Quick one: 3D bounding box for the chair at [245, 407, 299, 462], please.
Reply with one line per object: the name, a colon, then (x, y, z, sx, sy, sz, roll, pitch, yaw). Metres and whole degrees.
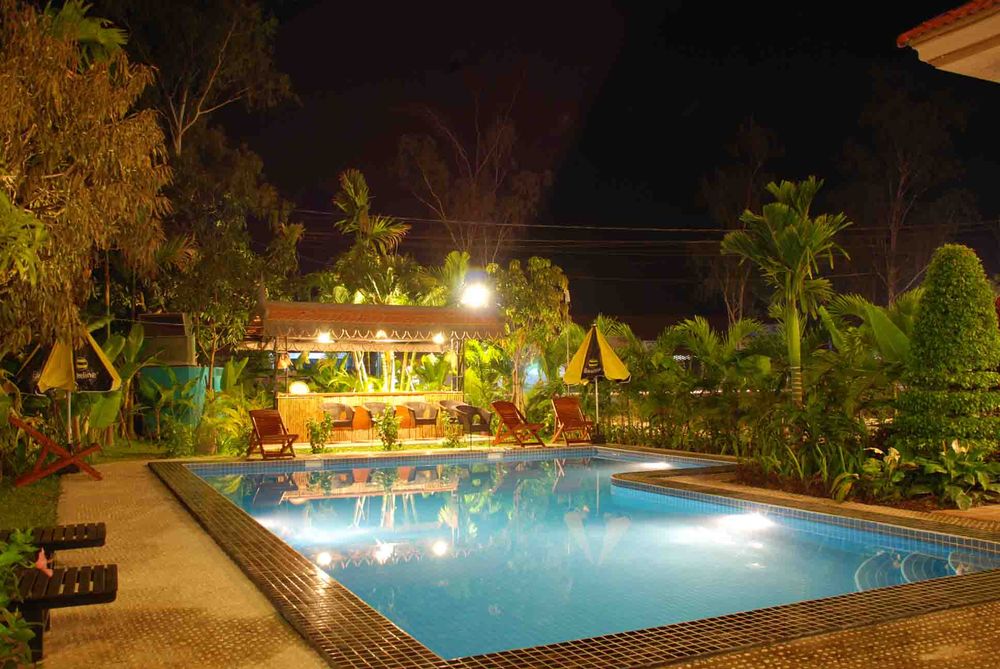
chair: (-5.134, 2.206, 14.999, 0.952, 1.075, 0.777, 2, -6, -25)

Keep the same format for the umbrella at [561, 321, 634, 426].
umbrella: (2.397, 0.948, 17.201, 1.594, 2.714, 1.608, -1, -5, 2)
